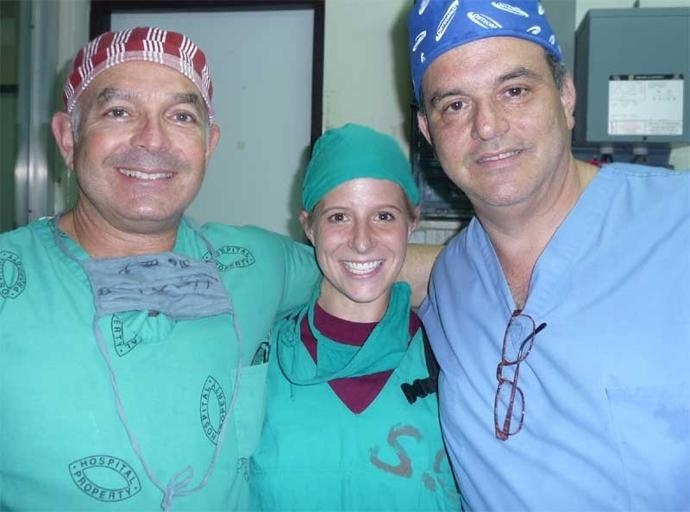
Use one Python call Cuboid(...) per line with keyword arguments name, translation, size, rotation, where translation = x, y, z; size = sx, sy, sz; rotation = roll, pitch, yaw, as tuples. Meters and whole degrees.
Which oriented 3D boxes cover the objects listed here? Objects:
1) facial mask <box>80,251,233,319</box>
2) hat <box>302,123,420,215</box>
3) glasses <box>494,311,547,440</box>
Cuboid(name="facial mask", translation=(-0.585, 0.029, 2.448), size=(0.312, 0.091, 0.237), rotation=(17, 3, -44))
Cuboid(name="hat", translation=(0.043, -0.362, 2.802), size=(0.325, 0.354, 0.324), rotation=(2, 14, 12))
Cuboid(name="glasses", translation=(0.520, 0.366, 2.466), size=(0.086, 0.366, 0.203), rotation=(5, 7, 33))
